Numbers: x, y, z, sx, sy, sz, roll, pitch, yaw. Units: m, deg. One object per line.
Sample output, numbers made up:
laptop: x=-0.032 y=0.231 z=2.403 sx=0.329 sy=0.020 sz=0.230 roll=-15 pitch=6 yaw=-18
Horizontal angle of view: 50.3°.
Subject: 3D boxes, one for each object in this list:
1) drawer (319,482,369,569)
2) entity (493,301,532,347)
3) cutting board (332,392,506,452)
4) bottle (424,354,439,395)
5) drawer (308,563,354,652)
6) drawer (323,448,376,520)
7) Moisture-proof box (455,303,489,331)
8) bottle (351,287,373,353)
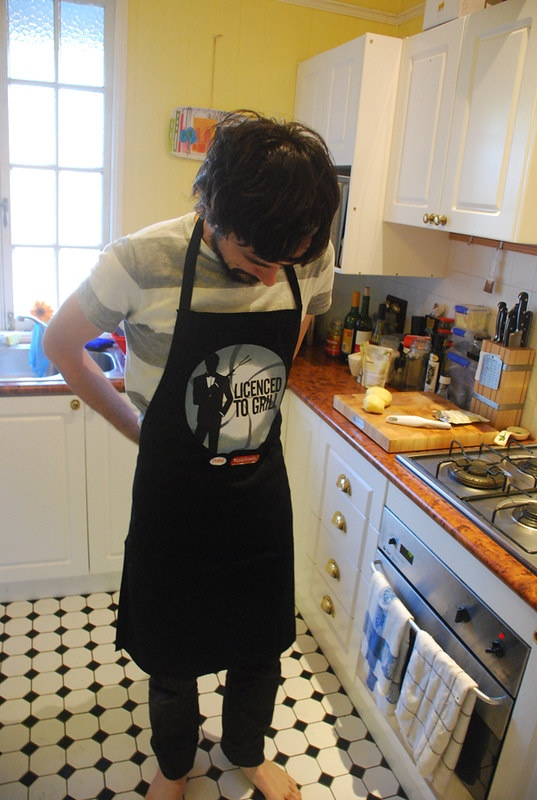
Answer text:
drawer: x=0.228 y=0.370 z=1.699 sx=0.158 sy=0.159 sz=0.241 roll=-1 pitch=21 yaw=-13
entity: x=0.712 y=-0.219 z=1.657 sx=0.128 sy=0.159 sz=0.093 roll=-4 pitch=10 yaw=-18
cutting board: x=0.443 y=0.061 z=1.750 sx=0.385 sy=0.076 sz=0.463 roll=0 pitch=15 yaw=-20
bottle: x=0.573 y=-0.096 z=2.000 sx=0.045 sy=0.134 sz=0.048 roll=4 pitch=13 yaw=-1
drawer: x=0.199 y=0.667 z=1.820 sx=0.037 sy=0.150 sz=0.157 roll=-3 pitch=31 yaw=-27
drawer: x=0.229 y=0.246 z=1.676 sx=0.134 sy=0.179 sz=0.188 roll=0 pitch=18 yaw=-13
Moisture-proof box: x=0.678 y=-0.281 z=1.912 sx=0.107 sy=0.082 sz=0.082 roll=-5 pitch=16 yaw=-16
bottle: x=0.402 y=-0.333 z=2.391 sx=0.075 sy=0.269 sz=0.179 roll=6 pitch=13 yaw=8
